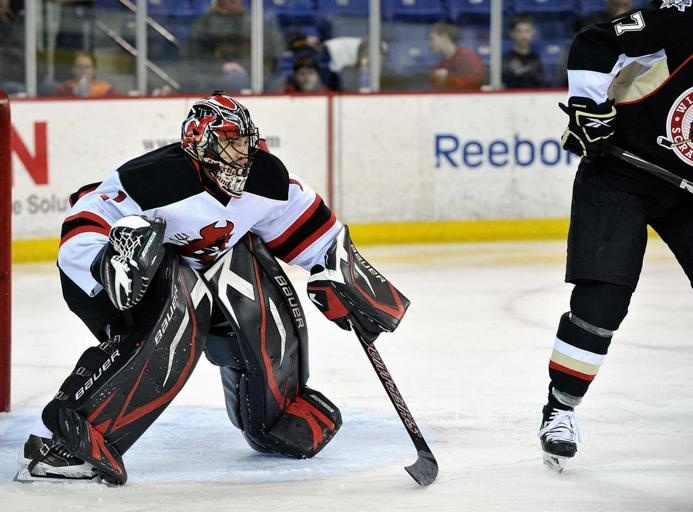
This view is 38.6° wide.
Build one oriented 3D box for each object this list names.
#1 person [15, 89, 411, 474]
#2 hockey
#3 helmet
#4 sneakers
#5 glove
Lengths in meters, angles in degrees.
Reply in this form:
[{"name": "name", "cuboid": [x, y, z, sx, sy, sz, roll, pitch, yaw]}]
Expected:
[{"name": "person", "cuboid": [-0.528, 0.120, 3.284, 0.916, 1.130, 1.255, 1, 1, 40]}, {"name": "hockey", "cuboid": [0.143, 0.466, 3.199, 0.111, 0.550, 0.036, -22, -7, -43]}, {"name": "helmet", "cuboid": [-0.401, -0.355, 3.150, 0.248, 0.313, 0.210, 1, 16, -1]}, {"name": "sneakers", "cuboid": [-0.886, 0.624, 3.045, 0.268, 0.099, 0.104, 1, 2, -1]}, {"name": "glove", "cuboid": [0.777, -0.426, 3.204, 0.164, 0.205, 0.206, 26, 22, 14]}]
